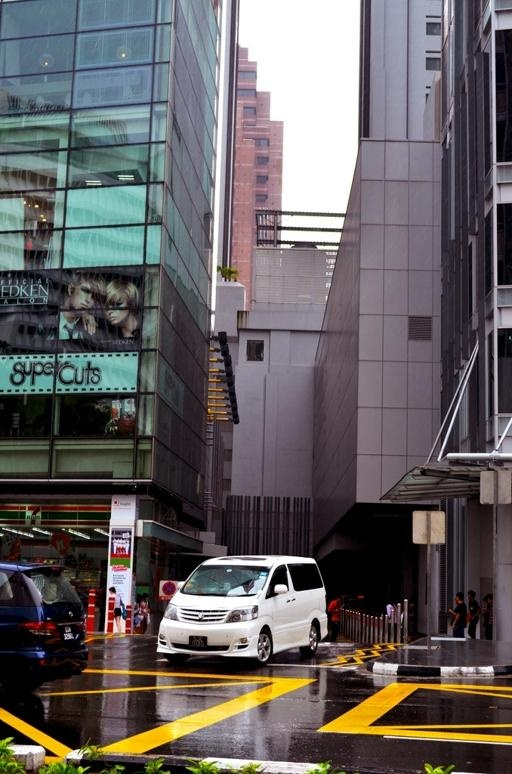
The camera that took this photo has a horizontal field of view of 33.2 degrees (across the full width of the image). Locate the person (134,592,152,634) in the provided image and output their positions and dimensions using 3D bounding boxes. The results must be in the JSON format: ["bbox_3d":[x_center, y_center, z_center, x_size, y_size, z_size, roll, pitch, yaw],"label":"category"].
[{"bbox_3d":[-3.841,7.652,28.563,0.456,1.222,1.224,1,-14,-8],"label":"person"}]

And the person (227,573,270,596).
[{"bbox_3d":[-0.125,3.344,14.351,0.431,0.369,0.871,-11,-17,33],"label":"person"}]

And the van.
[{"bbox_3d":[-0.143,3.921,15.009,1.615,1.377,3.192,-5,-20,18],"label":"van"}]
